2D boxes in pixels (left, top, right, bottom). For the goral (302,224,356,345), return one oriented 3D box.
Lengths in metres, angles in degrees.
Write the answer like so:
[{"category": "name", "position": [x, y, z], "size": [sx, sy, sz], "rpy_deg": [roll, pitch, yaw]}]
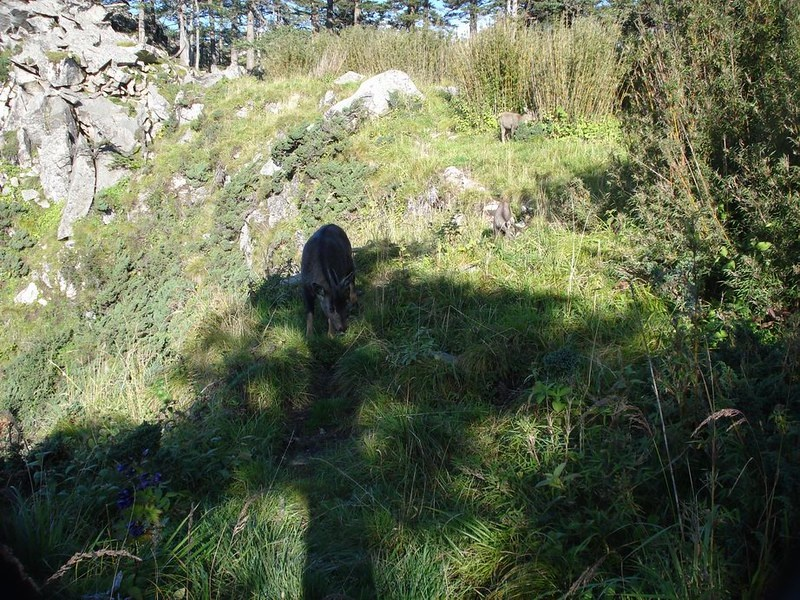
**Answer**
[{"category": "goral", "position": [-1.390, -0.308, 11.132], "size": [0.613, 1.506, 2.564], "rpy_deg": [-3, 27, -18]}]
